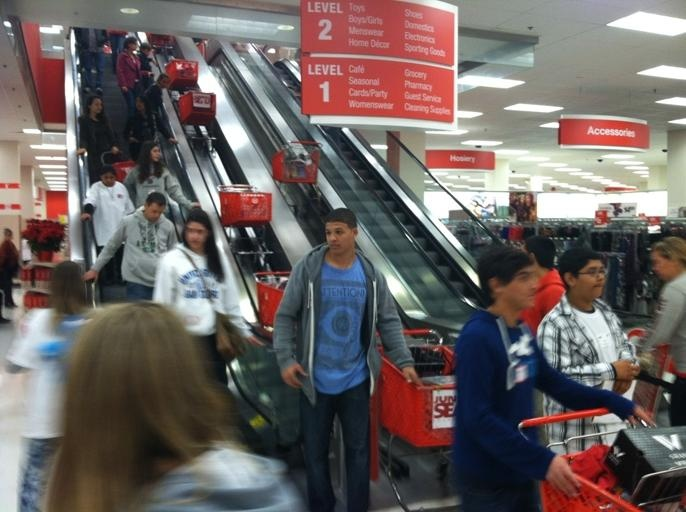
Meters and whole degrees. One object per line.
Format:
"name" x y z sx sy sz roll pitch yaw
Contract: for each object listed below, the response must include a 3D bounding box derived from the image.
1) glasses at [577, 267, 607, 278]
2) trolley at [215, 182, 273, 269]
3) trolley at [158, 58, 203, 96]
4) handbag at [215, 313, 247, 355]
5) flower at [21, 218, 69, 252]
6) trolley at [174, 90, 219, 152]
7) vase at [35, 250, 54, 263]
"glasses" 1.188 0.081 2.479 0.093 0.026 0.090 -1 4 -19
"trolley" -1.324 -0.495 6.954 0.546 0.899 0.558 -3 -1 -44
"trolley" -3.323 -3.673 10.545 0.593 0.500 0.841 1 -4 -14
"handbag" -0.723 0.498 3.181 0.092 0.256 0.194 -26 9 13
"flower" -4.927 -0.344 8.451 0.617 0.567 0.631 4 7 43
"trolley" -2.692 -2.497 9.432 0.901 0.718 1.165 0 -6 -17
"vase" -5.041 0.016 8.597 0.206 0.139 0.198 0 4 1
